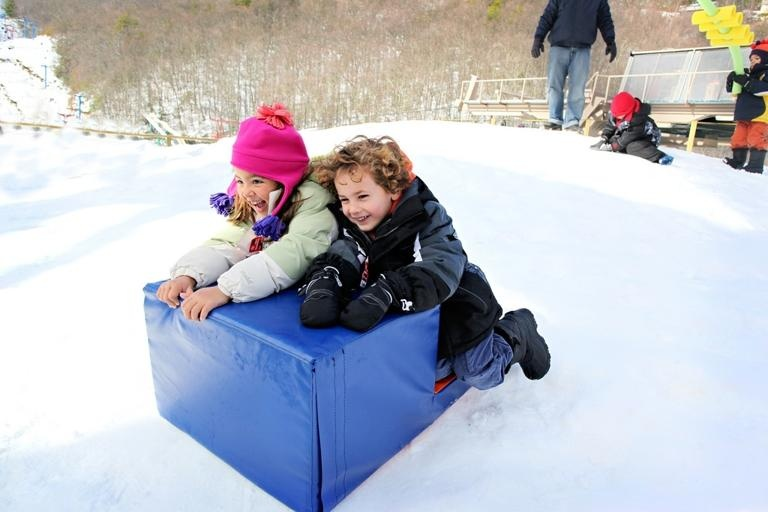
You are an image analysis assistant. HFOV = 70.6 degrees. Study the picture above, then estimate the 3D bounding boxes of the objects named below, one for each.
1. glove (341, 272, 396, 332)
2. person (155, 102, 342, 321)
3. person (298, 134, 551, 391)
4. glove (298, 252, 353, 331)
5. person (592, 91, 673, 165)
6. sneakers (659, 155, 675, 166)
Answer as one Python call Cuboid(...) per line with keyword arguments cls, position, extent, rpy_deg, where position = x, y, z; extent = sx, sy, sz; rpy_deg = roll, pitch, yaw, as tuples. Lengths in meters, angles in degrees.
Cuboid(cls="glove", position=(-0.053, 0.212, 2.460), extent=(0.275, 0.139, 0.081), rpy_deg=(-48, 5, -14))
Cuboid(cls="person", position=(-0.677, -0.281, 2.828), extent=(0.700, 0.955, 1.127), rpy_deg=(8, 20, 29))
Cuboid(cls="person", position=(0.229, 0.130, 3.119), extent=(0.904, 1.319, 1.790), rpy_deg=(-1, -8, 39))
Cuboid(cls="glove", position=(-0.264, 0.160, 2.504), extent=(0.178, 0.127, 0.326), rpy_deg=(7, 50, 10))
Cuboid(cls="person", position=(2.501, -1.297, 5.379), extent=(0.521, 0.605, 0.924), rpy_deg=(-16, 27, -16))
Cuboid(cls="sneakers", position=(2.594, -0.874, 5.005), extent=(0.111, 0.085, 0.430), rpy_deg=(13, 23, 25))
